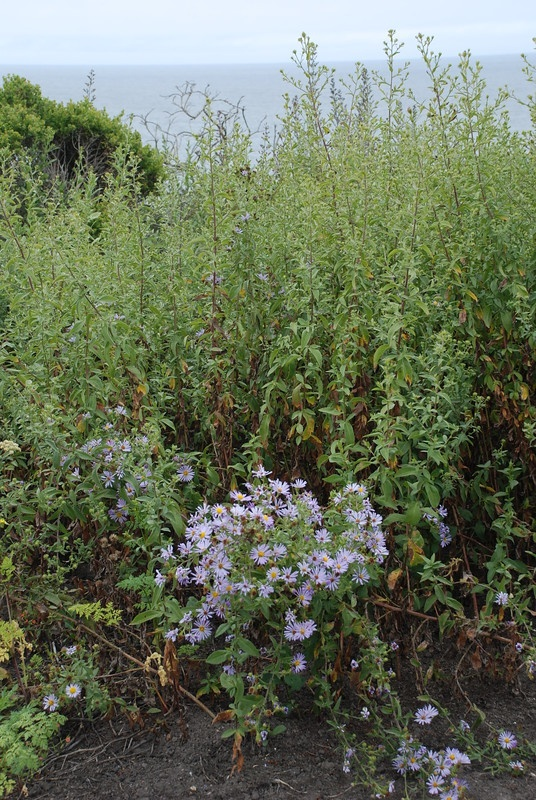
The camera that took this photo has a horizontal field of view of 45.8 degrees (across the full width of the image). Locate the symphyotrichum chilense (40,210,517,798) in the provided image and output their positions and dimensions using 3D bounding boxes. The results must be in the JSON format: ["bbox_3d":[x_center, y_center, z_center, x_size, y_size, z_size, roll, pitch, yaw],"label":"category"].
[{"bbox_3d":[0.230,0.395,2.452,1.249,1.620,0.715,8,-18,7],"label":"symphyotrichum chilense"}]
